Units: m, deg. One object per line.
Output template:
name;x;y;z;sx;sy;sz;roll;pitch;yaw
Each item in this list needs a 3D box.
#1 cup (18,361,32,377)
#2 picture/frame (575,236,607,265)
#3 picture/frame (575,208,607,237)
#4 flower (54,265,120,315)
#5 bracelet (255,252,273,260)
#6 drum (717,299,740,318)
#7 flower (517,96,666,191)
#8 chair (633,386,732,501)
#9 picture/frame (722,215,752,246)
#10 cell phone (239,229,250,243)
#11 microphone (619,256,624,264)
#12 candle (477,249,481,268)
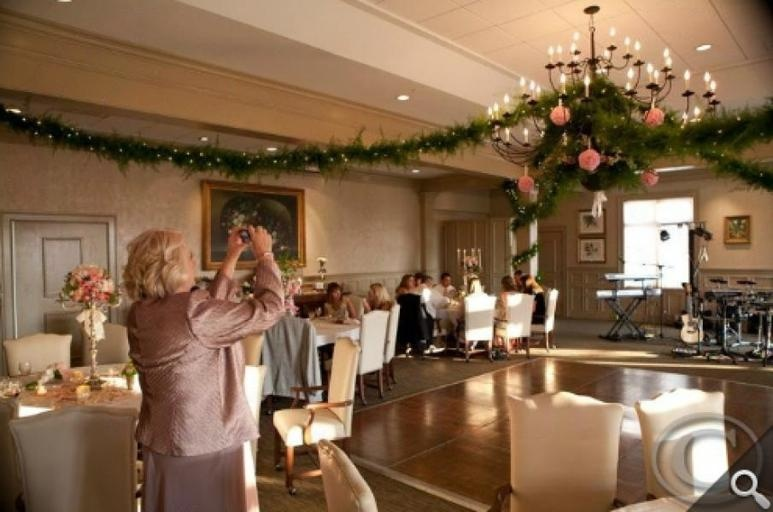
cup;-3.334;1.043;5.311;0.127;0.121;0.127;-1;-5;0
picture/frame;5.090;-0.146;14.206;0.717;0.712;0.078;2;-1;44
picture/frame;5.078;-0.837;14.203;0.667;0.475;0.307;-2;0;19
flower;-2.651;0.282;5.126;0.524;0.433;0.355;-3;0;44
bracelet;-0.782;-0.003;3.722;0.077;0.032;0.065;-12;-9;17
drum;5.683;0.870;9.543;0.285;0.321;0.286;1;1;31
flower;1.770;-0.944;5.333;1.109;0.288;1.112;13;-19;-35
chair;2.113;1.341;4.194;0.658;0.741;0.802;-18;-41;25
picture/frame;7.504;-0.557;12.241;0.671;0.871;0.127;-1;-2;41
cell phone;-0.920;-0.133;3.720;0.050;0.089;0.025;-8;-17;-6
microphone;5.620;0.083;13.752;0.151;0.139;0.037;4;1;40
candle;2.238;0.041;13.799;0.116;0.361;0.333;-2;0;10
